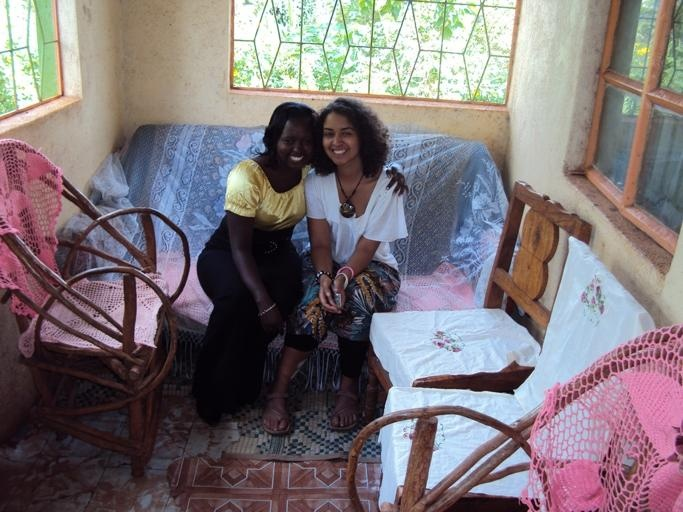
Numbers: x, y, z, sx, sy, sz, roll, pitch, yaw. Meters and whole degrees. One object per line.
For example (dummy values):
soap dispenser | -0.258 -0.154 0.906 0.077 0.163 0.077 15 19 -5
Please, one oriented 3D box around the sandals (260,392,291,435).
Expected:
sandals | -0.274 0.714 2.185 0.078 0.095 0.234 0 -3 -6

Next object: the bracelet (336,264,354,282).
bracelet | 0.024 0.077 2.238 0.059 0.041 0.075 10 7 -10

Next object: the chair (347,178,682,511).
chair | 0.616 0.016 2.442 1.044 1.884 0.999 -2 36 -8
